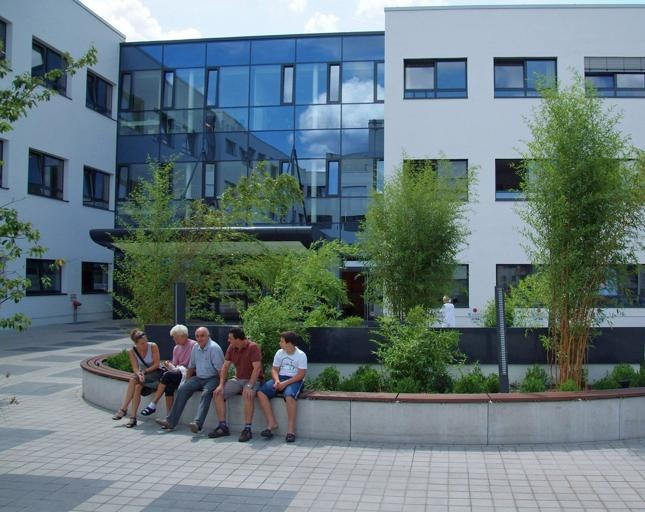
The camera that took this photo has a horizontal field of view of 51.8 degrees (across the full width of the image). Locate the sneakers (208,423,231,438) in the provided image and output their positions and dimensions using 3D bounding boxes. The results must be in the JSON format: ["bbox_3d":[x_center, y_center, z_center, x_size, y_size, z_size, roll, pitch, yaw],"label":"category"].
[{"bbox_3d":[-1.447,2.445,9.466,0.373,0.191,0.226,2,-3,-31],"label":"sneakers"}]

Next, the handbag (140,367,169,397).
[{"bbox_3d":[-2.578,1.924,10.241,0.340,0.398,0.140,-5,-19,40],"label":"handbag"}]

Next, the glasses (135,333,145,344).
[{"bbox_3d":[-2.801,1.255,10.247,0.109,0.153,0.145,1,3,-7],"label":"glasses"}]

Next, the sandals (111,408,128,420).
[{"bbox_3d":[-3.093,2.402,10.129,0.100,0.105,0.281,-1,-10,4],"label":"sandals"}]

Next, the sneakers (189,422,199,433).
[{"bbox_3d":[-1.798,2.380,9.380,0.083,0.189,0.083,-6,35,1],"label":"sneakers"}]

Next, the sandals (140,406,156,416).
[{"bbox_3d":[-2.623,2.328,10.047,0.117,0.102,0.236,-5,-10,27],"label":"sandals"}]

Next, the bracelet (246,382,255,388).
[{"bbox_3d":[-1.012,1.828,9.473,0.100,0.072,0.097,1,-6,8],"label":"bracelet"}]

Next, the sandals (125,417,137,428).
[{"bbox_3d":[-2.845,2.437,9.909,0.162,0.130,0.280,1,-3,-16],"label":"sandals"}]

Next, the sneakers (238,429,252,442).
[{"bbox_3d":[-1.057,2.463,9.269,0.138,0.157,0.220,0,-3,18],"label":"sneakers"}]
